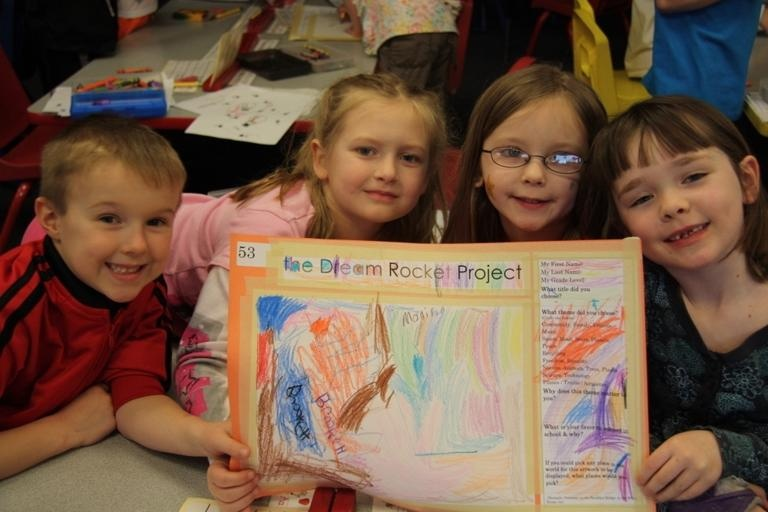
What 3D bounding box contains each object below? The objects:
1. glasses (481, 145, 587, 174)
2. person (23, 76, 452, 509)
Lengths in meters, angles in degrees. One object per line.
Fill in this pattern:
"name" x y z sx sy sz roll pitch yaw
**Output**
"glasses" 0.406 -0.269 1.749 0.269 0.066 0.067 7 33 17
"person" -0.339 -0.105 1.980 1.504 0.851 0.854 14 22 37
